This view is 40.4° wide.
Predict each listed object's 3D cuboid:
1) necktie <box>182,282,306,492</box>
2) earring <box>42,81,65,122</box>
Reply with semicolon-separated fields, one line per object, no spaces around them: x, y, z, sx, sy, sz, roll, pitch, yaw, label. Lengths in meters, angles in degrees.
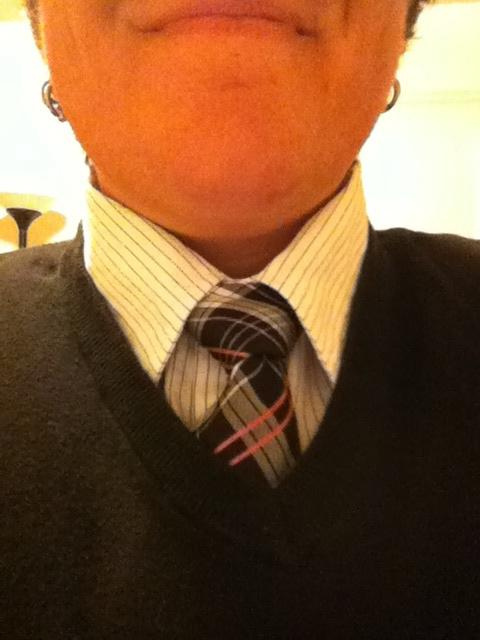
0.006;0.053;0.532;0.106;0.041;0.161;-11;73;-7;necktie
-0.189;-0.219;0.664;0.019;0.044;0.163;-1;28;-17;earring
